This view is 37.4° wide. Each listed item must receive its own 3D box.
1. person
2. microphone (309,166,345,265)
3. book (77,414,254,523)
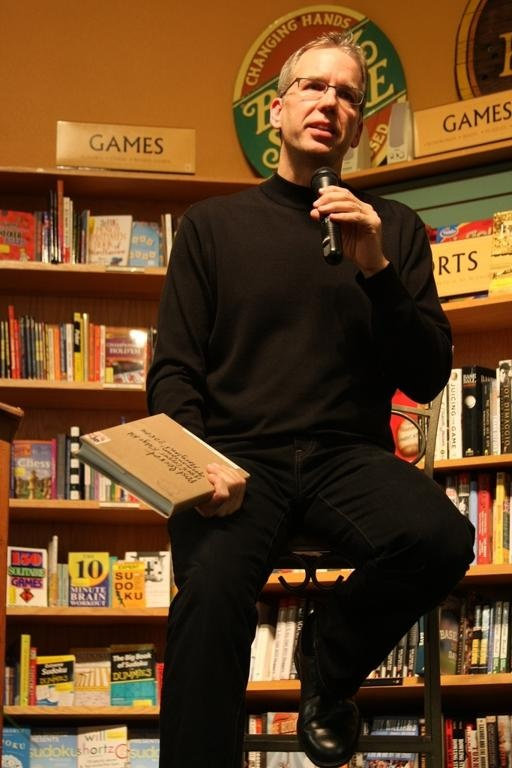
[{"bbox_3d":[0.090,-0.084,1.188,0.512,1.224,0.502,1,-6,-9],"label":"person"},{"bbox_3d":[0.112,-0.255,1.153,0.051,0.180,0.055,15,-40,-21],"label":"microphone"},{"bbox_3d":[-0.128,0.101,0.957,0.163,0.032,0.156,32,23,26],"label":"book"}]
